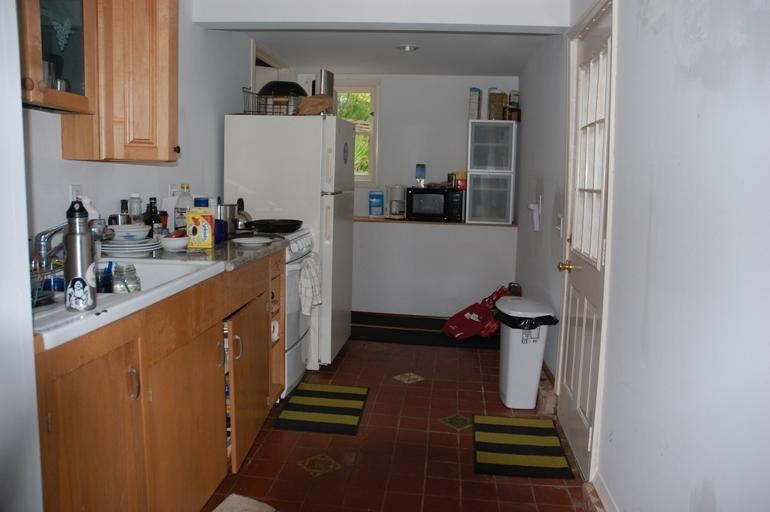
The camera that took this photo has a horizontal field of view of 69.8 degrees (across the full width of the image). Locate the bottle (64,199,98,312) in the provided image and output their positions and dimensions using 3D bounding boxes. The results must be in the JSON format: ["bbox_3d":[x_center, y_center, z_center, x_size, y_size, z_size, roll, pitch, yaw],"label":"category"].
[{"bbox_3d":[-1.097,-0.008,1.973,0.108,0.365,0.212,-6,14,-30],"label":"bottle"}]

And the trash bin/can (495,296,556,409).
[{"bbox_3d":[0.932,0.670,3.775,0.395,0.703,0.249,4,12,10],"label":"trash bin/can"}]

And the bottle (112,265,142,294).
[{"bbox_3d":[-1.052,0.104,2.307,0.096,0.132,0.130,0,-1,-5],"label":"bottle"}]

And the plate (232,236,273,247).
[{"bbox_3d":[-0.822,-0.100,3.419,0.242,0.030,0.407,-3,13,-20],"label":"plate"}]

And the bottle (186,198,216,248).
[{"bbox_3d":[-1.057,-0.157,3.145,0.144,0.214,0.271,-3,13,-20],"label":"bottle"}]

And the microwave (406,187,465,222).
[{"bbox_3d":[0.520,-0.531,5.749,0.553,0.361,0.355,1,3,8],"label":"microwave"}]

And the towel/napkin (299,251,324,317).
[{"bbox_3d":[-0.531,0.180,3.898,0.170,0.445,0.437,1,8,5],"label":"towel/napkin"}]

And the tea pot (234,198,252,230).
[{"bbox_3d":[-0.987,-0.304,3.902,0.091,0.222,0.156,-6,-24,-18],"label":"tea pot"}]

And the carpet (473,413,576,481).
[{"bbox_3d":[0.800,1.128,3.337,0.547,0.022,0.659,3,12,5],"label":"carpet"}]
